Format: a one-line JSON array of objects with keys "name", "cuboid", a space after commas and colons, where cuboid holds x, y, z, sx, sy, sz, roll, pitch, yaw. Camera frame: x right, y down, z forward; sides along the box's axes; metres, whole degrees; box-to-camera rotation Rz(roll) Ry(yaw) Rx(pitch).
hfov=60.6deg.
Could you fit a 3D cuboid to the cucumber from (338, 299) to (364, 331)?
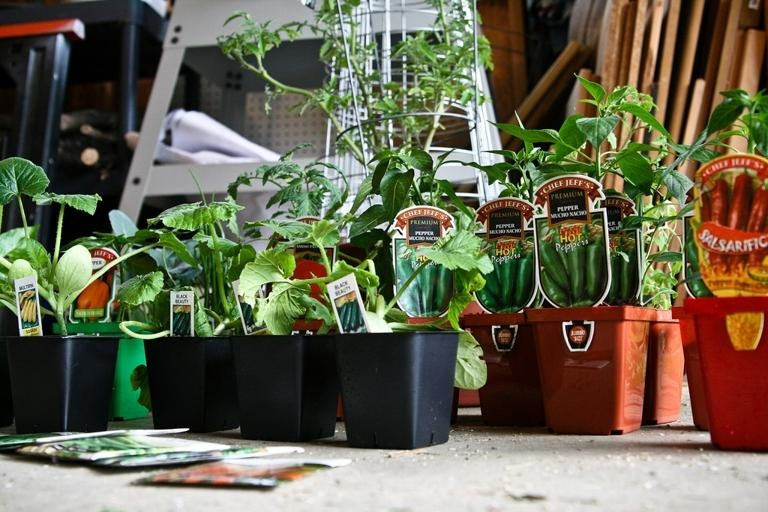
[{"name": "cucumber", "cuboid": [-0.080, 0.146, 1.607, 0.062, 0.080, 0.007, -20, -10, 31]}]
